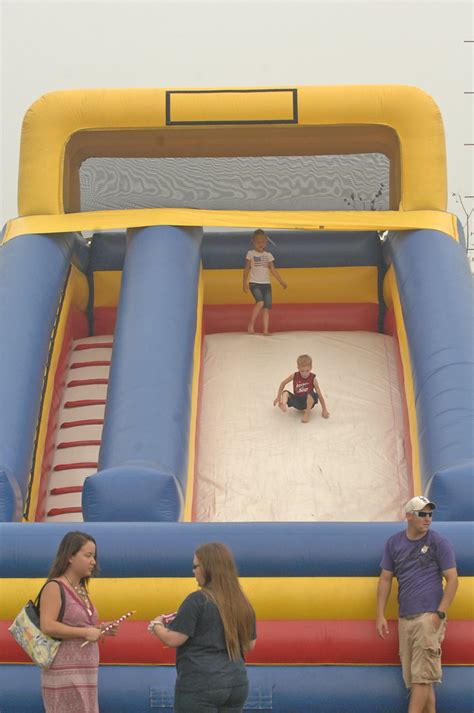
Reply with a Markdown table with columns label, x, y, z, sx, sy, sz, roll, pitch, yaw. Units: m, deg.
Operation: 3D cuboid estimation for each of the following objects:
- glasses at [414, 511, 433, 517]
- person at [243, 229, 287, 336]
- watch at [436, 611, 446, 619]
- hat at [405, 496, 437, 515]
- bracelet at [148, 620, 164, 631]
| label | x | y | z | sx | sy | sz | roll | pitch | yaw |
| --- | --- | --- | --- | --- | --- | --- | --- | --- | --- |
| glasses | 0.707 | 0.604 | 2.698 | 0.056 | 0.026 | 0.022 | 8 | -16 | -24 |
| person | 0.218 | -0.615 | 5.832 | 0.343 | 0.842 | 0.567 | 1 | -14 | 4 |
| watch | 0.753 | 0.959 | 2.618 | 0.038 | 0.033 | 0.027 | 13 | -18 | -36 |
| hat | 0.696 | 0.577 | 2.738 | 0.069 | 0.049 | 0.091 | 1 | -14 | -26 |
| bracelet | -0.214 | 0.698 | 1.835 | 0.035 | 0.013 | 0.036 | 3 | 7 | 14 |
